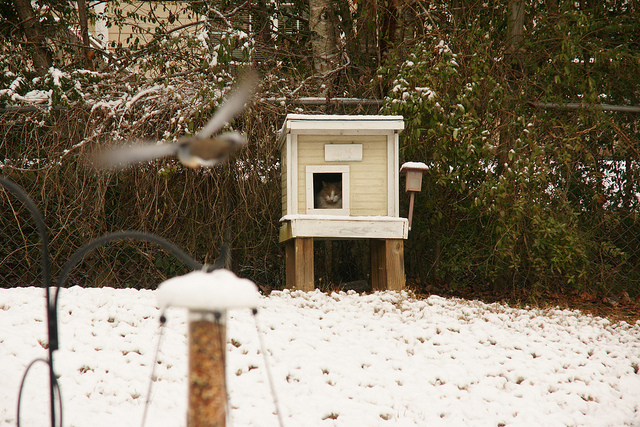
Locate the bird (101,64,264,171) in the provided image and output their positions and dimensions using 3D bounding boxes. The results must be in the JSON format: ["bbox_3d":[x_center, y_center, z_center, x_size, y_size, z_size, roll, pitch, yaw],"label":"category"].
[{"bbox_3d":[-1.607,-1.092,8.451,1.494,0.691,1.501,-45,7,25],"label":"bird"}]
